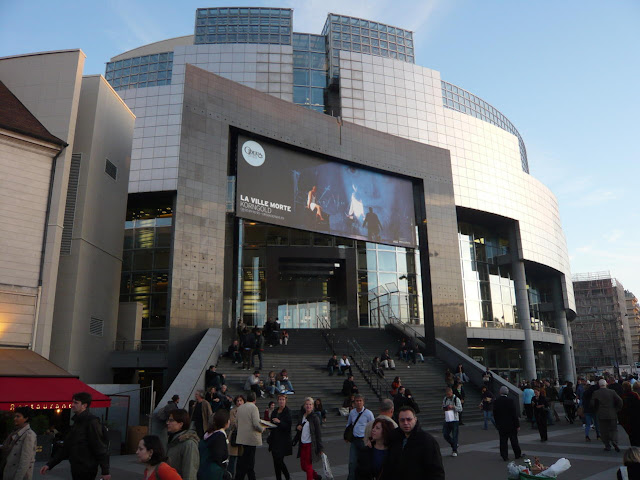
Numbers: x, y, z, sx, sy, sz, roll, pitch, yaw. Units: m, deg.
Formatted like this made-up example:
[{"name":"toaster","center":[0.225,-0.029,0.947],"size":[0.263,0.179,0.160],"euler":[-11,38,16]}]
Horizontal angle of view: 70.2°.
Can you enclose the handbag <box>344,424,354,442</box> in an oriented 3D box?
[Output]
[{"name":"handbag","center":[0.581,3.816,9.054],"size":[0.158,0.342,0.323],"euler":[0,-16,-8]}]

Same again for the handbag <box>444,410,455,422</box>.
[{"name":"handbag","center":[3.644,4.858,12.656],"size":[0.264,0.327,0.200],"euler":[-6,-16,13]}]
